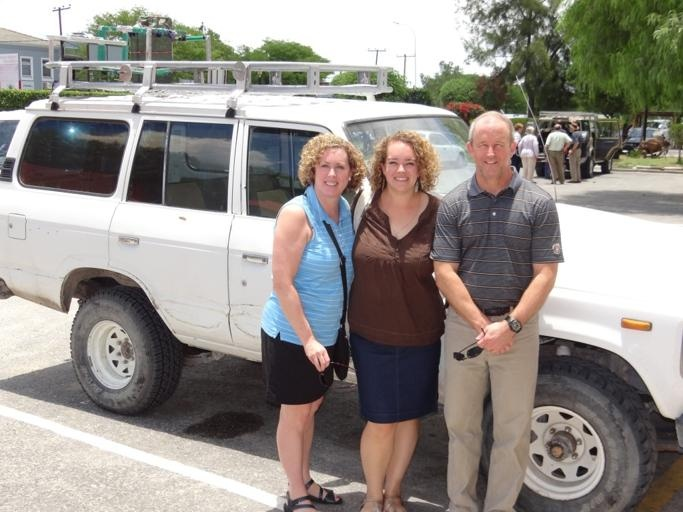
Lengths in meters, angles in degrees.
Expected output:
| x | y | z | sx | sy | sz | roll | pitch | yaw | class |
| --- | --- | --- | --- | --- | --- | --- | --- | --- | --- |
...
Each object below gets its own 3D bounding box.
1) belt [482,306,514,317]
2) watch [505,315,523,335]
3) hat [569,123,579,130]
| x | y | z | sx | sy | sz | roll | pitch | yaw | class |
| --- | --- | --- | --- | --- | --- | --- | --- | --- | --- |
| 0.881 | 0.316 | 3.513 | 0.174 | 0.063 | 0.021 | 2 | 12 | 3 | belt |
| 0.943 | 0.381 | 3.453 | 0.106 | 0.069 | 0.099 | 41 | -22 | 14 | watch |
| 8.308 | -4.625 | 22.245 | 0.344 | 0.145 | 0.388 | -14 | 32 | -42 | hat |
